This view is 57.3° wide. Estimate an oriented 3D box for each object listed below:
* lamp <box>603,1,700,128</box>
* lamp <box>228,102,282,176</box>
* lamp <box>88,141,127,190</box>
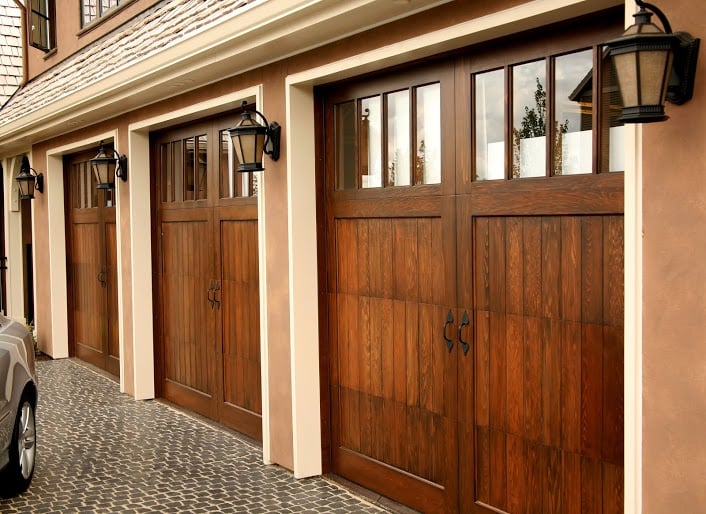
[{"bbox_3d":[1.613,-1.049,3.467,0.495,0.649,0.288,-5,6,-39],"label":"lamp"},{"bbox_3d":[-0.867,-1.042,6.009,0.555,0.901,0.588,0,0,-23],"label":"lamp"},{"bbox_3d":[-3.154,-1.139,8.246,0.392,0.511,0.431,-4,6,-30],"label":"lamp"}]
